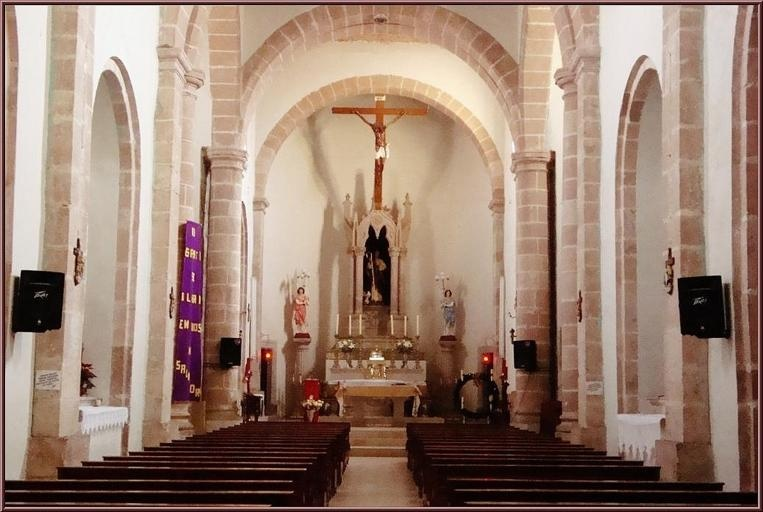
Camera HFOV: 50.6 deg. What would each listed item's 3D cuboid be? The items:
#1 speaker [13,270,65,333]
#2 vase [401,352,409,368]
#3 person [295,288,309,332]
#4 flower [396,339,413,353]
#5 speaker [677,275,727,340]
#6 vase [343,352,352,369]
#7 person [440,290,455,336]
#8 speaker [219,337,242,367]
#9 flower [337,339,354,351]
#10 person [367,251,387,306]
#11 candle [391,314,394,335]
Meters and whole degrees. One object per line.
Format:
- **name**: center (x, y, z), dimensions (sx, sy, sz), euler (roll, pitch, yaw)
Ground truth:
- **speaker**: center (-3.725, 0.491, 8.752), dimensions (0.498, 0.649, 0.286), euler (3, -10, -22)
- **vase**: center (0.661, 2.914, 22.757), dimensions (0.233, 0.430, 0.303), euler (-1, -9, 2)
- **person**: center (-2.333, 1.573, 23.384), dimensions (0.418, 1.422, 1.203), euler (0, -9, -4)
- **flower**: center (0.675, 2.571, 23.057), dimensions (0.514, 0.357, 0.461), euler (0, -9, -5)
- **speaker**: center (3.435, 0.536, 8.602), dimensions (0.543, 0.791, 0.428), euler (-3, -19, 12)
- **vase**: center (-0.910, 2.882, 22.574), dimensions (0.186, 0.403, 0.286), euler (-1, -9, -3)
- **person**: center (1.968, 1.632, 23.608), dimensions (0.397, 1.394, 1.114), euler (-2, -9, 4)
- **speaker**: center (-2.986, 1.887, 15.951), dimensions (0.509, 0.704, 0.509), euler (0, -9, -5)
- **flower**: center (-0.993, 2.531, 22.863), dimensions (0.509, 0.351, 0.396), euler (0, -9, -4)
- **person**: center (-0.098, 0.662, 24.420), dimensions (0.593, 1.592, 0.281), euler (2, -9, -15)
- **candle**: center (0.319, 2.022, 23.832), dimensions (0.133, 0.583, 0.165), euler (-2, -9, 9)
